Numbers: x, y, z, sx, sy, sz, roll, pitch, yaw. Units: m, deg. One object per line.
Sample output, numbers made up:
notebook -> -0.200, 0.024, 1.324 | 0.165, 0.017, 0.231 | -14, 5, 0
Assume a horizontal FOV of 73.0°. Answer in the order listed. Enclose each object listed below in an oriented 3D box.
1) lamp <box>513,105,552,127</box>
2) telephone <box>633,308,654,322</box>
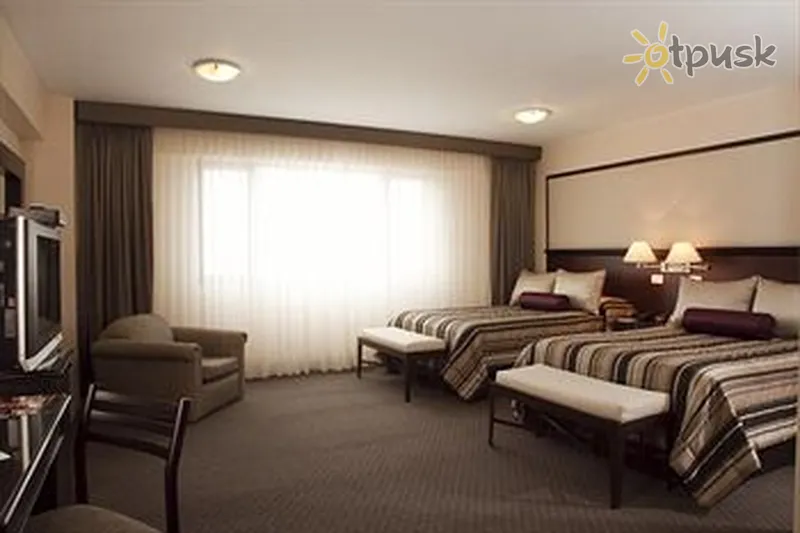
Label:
lamp -> 1.661, -1.868, 6.756 | 0.460, 0.128, 0.666 | 2, 9, 12
telephone -> 3.124, 0.627, 6.891 | 0.214, 0.063, 0.154 | -4, 9, -26
